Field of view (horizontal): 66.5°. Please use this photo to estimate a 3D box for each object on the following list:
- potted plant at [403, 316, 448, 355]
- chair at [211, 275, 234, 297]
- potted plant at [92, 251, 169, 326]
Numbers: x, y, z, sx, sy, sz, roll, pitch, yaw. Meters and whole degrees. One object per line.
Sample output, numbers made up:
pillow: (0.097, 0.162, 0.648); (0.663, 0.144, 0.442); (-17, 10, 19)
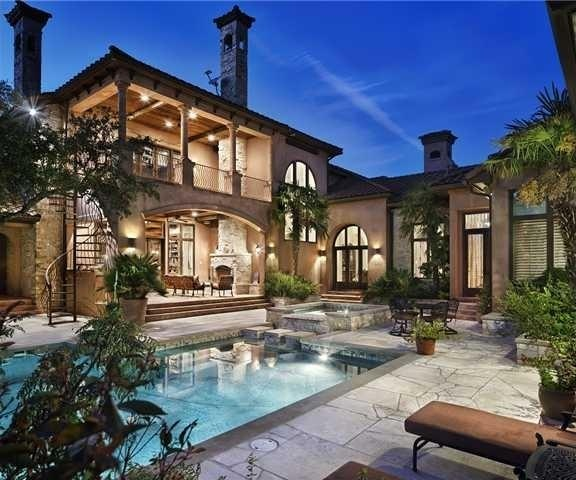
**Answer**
potted plant: (2.562, 1.781, 8.112); (0.697, 0.683, 0.703); (2, -12, -5)
chair: (-2.319, 1.642, 16.051); (0.736, 0.918, 0.928); (1, -3, -36)
potted plant: (-3.804, 0.935, 11.176); (2.168, 2.335, 2.123); (0, -1, -25)
